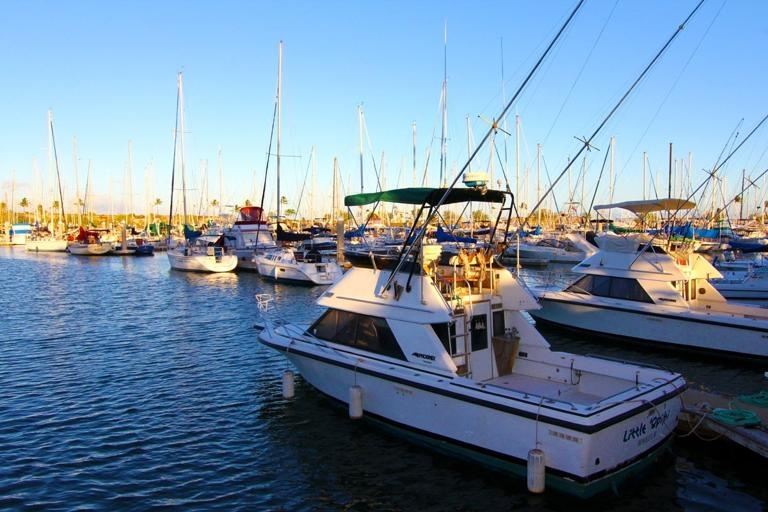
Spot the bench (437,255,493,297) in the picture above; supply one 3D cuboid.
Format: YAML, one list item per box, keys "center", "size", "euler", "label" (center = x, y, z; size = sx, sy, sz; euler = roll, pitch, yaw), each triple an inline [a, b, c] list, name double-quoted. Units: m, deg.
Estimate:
- center: [2.222, 0.559, 18.358]
  size: [1.526, 1.066, 1.141]
  euler: [2, -7, -33]
  label: "bench"

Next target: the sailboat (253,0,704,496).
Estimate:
- center: [2.406, 1.611, 17.149]
  size: [9.174, 7.479, 3.316]
  euler: [3, 7, 30]
  label: "sailboat"
